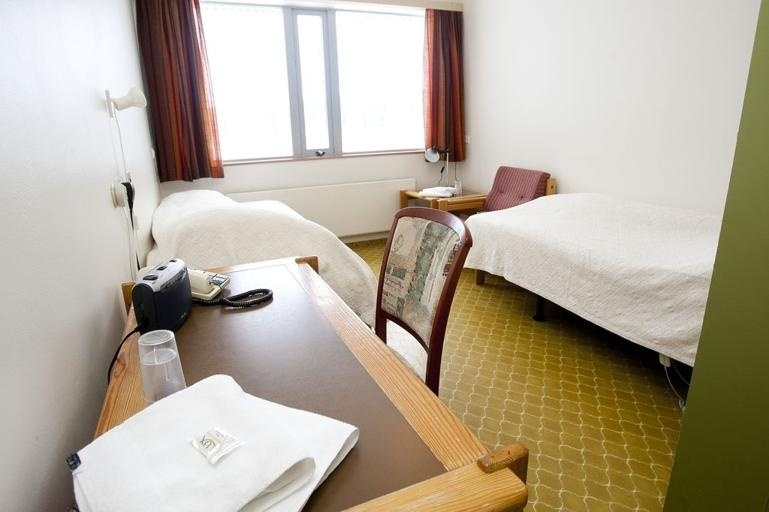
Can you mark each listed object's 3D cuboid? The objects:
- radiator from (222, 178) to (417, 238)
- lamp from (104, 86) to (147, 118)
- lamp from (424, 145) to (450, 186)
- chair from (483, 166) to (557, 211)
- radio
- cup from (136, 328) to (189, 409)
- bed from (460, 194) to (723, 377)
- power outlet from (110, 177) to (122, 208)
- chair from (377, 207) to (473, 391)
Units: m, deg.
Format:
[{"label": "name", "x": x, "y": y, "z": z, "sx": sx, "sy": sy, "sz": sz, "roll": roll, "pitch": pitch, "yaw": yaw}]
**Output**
[{"label": "radiator", "x": -0.460, "y": -0.489, "z": 5.290, "sx": 1.757, "sy": 0.562, "sz": 0.109, "roll": -10, "pitch": 23, "yaw": -21}, {"label": "lamp", "x": -1.289, "y": -0.770, "z": 2.519, "sx": 0.161, "sy": 0.126, "sz": 0.244, "roll": -9, "pitch": 23, "yaw": -19}, {"label": "lamp", "x": 0.580, "y": -0.974, "z": 5.482, "sx": 0.280, "sy": 0.494, "sz": 0.501, "roll": 1, "pitch": 22, "yaw": 5}, {"label": "chair", "x": 1.092, "y": -0.525, "z": 4.698, "sx": 0.482, "sy": 0.570, "sz": 0.861, "roll": -4, "pitch": 16, "yaw": -11}, {"label": "radio", "x": -0.802, "y": 0.153, "z": 1.848, "sx": 0.110, "sy": 0.240, "sz": 0.314, "roll": 4, "pitch": 15, "yaw": 1}, {"label": "cup", "x": -0.658, "y": 0.310, "z": 1.495, "sx": 0.105, "sy": 0.232, "sz": 0.122, "roll": -4, "pitch": 18, "yaw": -32}, {"label": "bed", "x": 1.263, "y": 0.013, "z": 3.108, "sx": 1.169, "sy": 0.430, "sz": 1.168, "roll": -13, "pitch": 20, "yaw": -37}, {"label": "power outlet", "x": -1.230, "y": -0.288, "z": 2.318, "sx": 0.023, "sy": 0.100, "sz": 0.099, "roll": -1, "pitch": 58, "yaw": -18}, {"label": "chair", "x": 0.145, "y": 0.092, "z": 2.060, "sx": 0.354, "sy": 0.828, "sz": 0.384, "roll": -3, "pitch": 21, "yaw": -12}]
